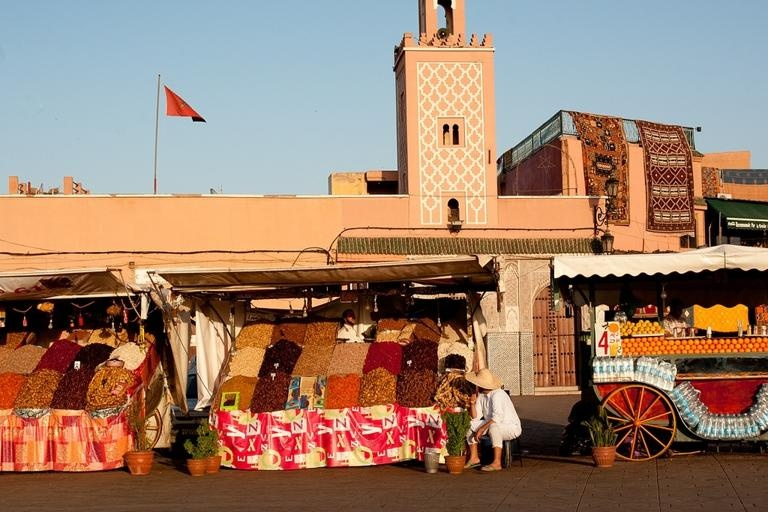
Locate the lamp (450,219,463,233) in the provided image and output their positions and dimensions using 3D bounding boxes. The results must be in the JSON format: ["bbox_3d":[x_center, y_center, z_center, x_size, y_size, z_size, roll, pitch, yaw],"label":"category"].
[{"bbox_3d":[2.326,-0.980,35.871,0.424,0.404,0.375,-2,5,-20],"label":"lamp"}]

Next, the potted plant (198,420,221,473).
[{"bbox_3d":[-2.735,2.835,17.397,0.251,0.212,0.617,6,-46,0],"label":"potted plant"}]

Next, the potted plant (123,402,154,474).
[{"bbox_3d":[-3.876,2.866,17.439,0.451,1.136,0.438,0,1,-1],"label":"potted plant"}]

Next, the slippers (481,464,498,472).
[{"bbox_3d":[1.637,3.262,17.103,0.219,0.061,0.105,5,-6,-7],"label":"slippers"}]

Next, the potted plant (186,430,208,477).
[{"bbox_3d":[-2.964,3.125,17.290,0.512,0.553,0.518,-5,-4,7],"label":"potted plant"}]

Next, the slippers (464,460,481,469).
[{"bbox_3d":[1.366,3.243,17.229,0.246,0.097,0.098,1,-3,-9],"label":"slippers"}]

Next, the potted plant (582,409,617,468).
[{"bbox_3d":[3.371,2.790,17.244,0.485,0.919,0.423,0,-4,10],"label":"potted plant"}]

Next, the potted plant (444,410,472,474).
[{"bbox_3d":[1.135,2.864,17.157,0.433,0.925,0.400,1,-4,-12],"label":"potted plant"}]
